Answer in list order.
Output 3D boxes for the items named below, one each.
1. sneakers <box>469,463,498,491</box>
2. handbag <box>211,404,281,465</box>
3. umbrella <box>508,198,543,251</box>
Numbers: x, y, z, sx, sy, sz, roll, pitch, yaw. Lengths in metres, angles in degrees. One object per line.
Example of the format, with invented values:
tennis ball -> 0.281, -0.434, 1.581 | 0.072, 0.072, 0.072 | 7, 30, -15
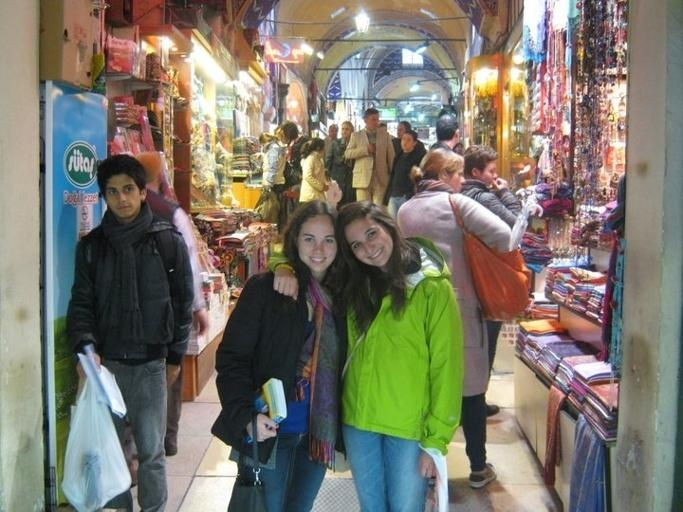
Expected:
sneakers -> 0.889, 1.354, 3.810 | 0.080, 0.113, 0.221 | -6, 6, 35
handbag -> -0.409, 0.766, 2.591 | 0.274, 0.293, 0.180 | 1, 8, 11
umbrella -> 1.272, -0.216, 4.221 | 0.111, 0.116, 0.368 | 19, 40, 22
